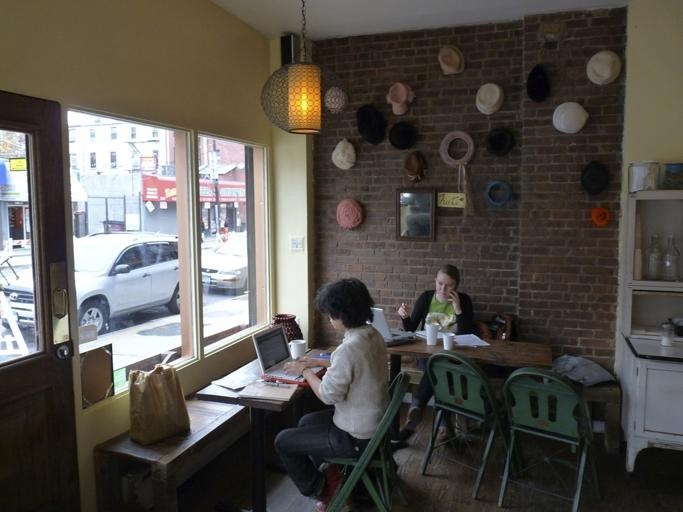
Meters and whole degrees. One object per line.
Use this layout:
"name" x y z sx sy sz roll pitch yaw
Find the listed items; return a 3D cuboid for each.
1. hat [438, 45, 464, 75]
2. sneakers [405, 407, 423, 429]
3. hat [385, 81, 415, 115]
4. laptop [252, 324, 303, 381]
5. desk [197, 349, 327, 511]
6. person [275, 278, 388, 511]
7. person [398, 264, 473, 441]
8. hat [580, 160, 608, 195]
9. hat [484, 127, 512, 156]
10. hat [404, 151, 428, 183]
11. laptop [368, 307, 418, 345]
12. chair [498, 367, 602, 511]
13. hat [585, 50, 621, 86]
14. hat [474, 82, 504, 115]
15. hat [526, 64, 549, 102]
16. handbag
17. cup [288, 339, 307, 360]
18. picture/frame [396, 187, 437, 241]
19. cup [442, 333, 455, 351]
"hat" 1.033 -1.857 5.114 0.223 0.268 0.155 0 6 10
"sneakers" 0.562 1.238 4.166 0.119 0.163 0.043 39 10 33
"hat" 0.601 -1.551 5.341 0.323 0.152 0.371 -1 50 -5
"laptop" -0.381 0.714 4.006 0.408 0.288 0.470 3 4 26
"desk" -0.530 1.155 4.189 0.805 1.113 1.158 1 1 17
"person" -0.046 0.973 3.576 0.686 1.645 0.382 1 6 23
"person" 0.733 0.695 4.509 0.576 0.891 1.440 0 14 20
"hat" 2.231 -0.689 4.787 0.247 0.305 0.083 1 6 23
"hat" 1.480 -1.069 5.076 0.256 0.272 0.077 1 6 18
"hat" 0.718 -0.877 5.296 0.200 0.298 0.104 7 14 21
"laptop" 0.401 0.557 4.564 0.307 0.255 0.350 -3 4 -25
"chair" 1.569 1.212 4.052 0.654 1.044 1.028 2 7 26
"hat" 2.266 -1.639 4.702 0.284 0.303 0.127 1 7 23
"hat" 1.370 -1.454 5.055 0.249 0.265 0.097 -5 4 34
"hat" 1.733 -1.527 4.814 0.207 0.309 0.067 10 10 33
"handbag" -1.260 1.046 3.732 0.378 0.511 0.223 -13 -1 -36
"cup" -0.334 0.713 4.176 0.095 0.118 0.157 -4 6 -11
"picture/frame" 0.755 -0.428 5.352 0.491 0.679 0.073 1 1 15
"cup" 0.828 0.679 4.303 0.115 0.135 0.121 0 -4 0
